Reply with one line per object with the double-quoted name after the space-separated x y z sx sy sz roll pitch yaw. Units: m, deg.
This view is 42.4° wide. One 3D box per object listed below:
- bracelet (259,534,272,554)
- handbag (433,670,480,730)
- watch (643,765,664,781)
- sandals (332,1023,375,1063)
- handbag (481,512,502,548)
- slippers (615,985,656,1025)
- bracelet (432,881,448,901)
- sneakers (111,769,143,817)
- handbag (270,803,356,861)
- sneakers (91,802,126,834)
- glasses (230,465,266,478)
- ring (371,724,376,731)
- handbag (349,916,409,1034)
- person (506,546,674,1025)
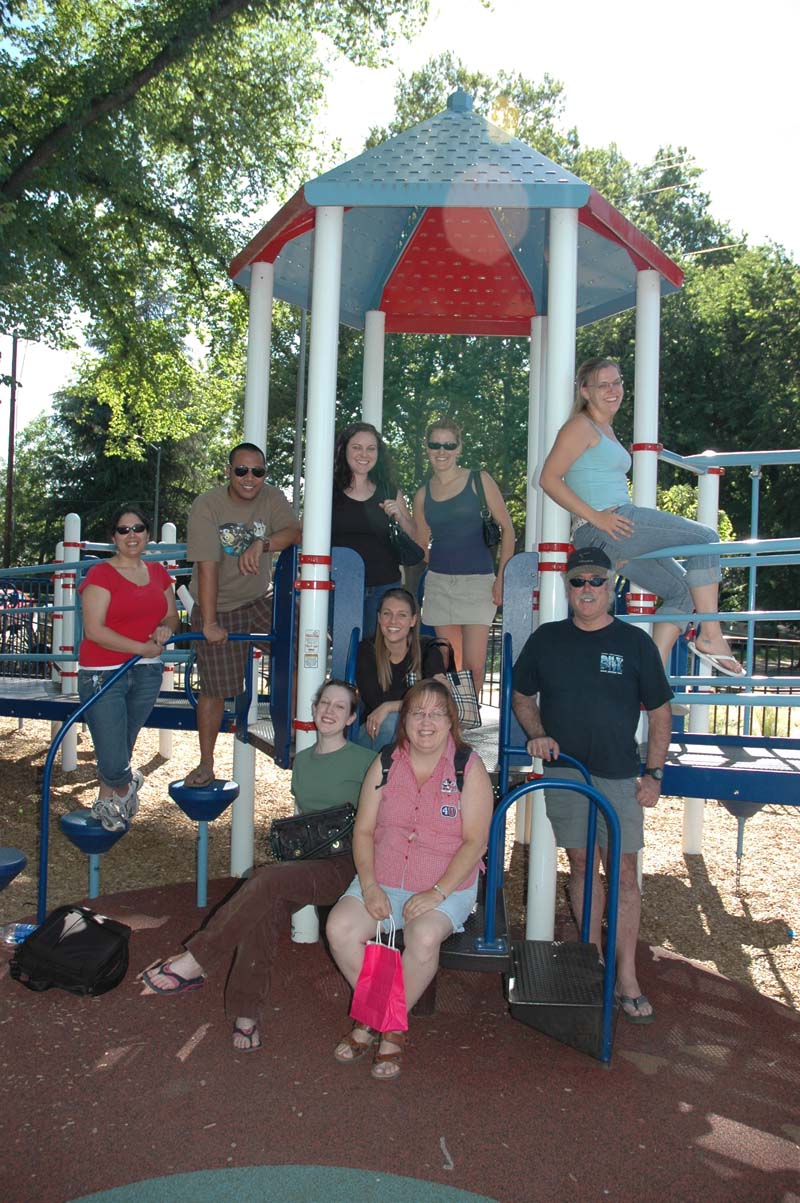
-0.657 -0.294 5.045 0.049 0.065 0.071 6 -7 14 "bracelet"
0.215 0.392 4.109 0.230 0.236 0.058 1 14 7 "handbag"
0.973 0.652 3.947 0.066 0.038 0.070 1 -7 8 "watch"
-0.165 1.523 3.525 0.060 0.060 0.164 1 -17 26 "sandals"
0.444 -0.346 5.103 0.080 0.137 0.054 4 -1 -30 "handbag"
0.886 1.546 3.918 0.135 0.078 0.055 3 -1 12 "slippers"
0.128 0.974 3.451 0.036 0.040 0.017 16 -50 -32 "bracelet"
-1.303 0.927 4.883 0.086 0.253 0.113 1 7 -3 "sneakers"
-0.341 0.877 3.928 0.311 0.171 0.111 -9 1 7 "handbag"
-1.332 0.989 4.752 0.100 0.077 0.179 -1 -15 -22 "sneakers"
-0.735 -0.632 4.994 0.169 0.046 0.076 4 -2 -43 "glasses"
-0.117 0.543 4.411 0.017 0.027 0.017 2 -6 0 "ring"
-0.072 1.251 3.326 0.199 0.292 0.138 2 -1 28 "handbag"
0.712 0.677 3.999 0.599 1.345 0.317 3 -1 7 "person"
